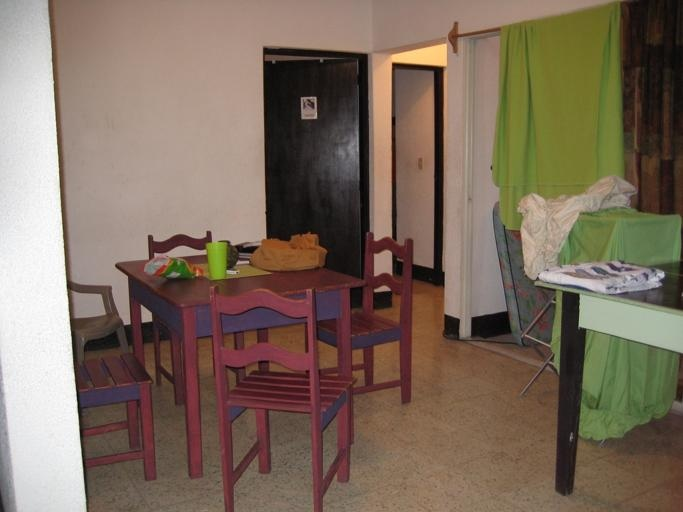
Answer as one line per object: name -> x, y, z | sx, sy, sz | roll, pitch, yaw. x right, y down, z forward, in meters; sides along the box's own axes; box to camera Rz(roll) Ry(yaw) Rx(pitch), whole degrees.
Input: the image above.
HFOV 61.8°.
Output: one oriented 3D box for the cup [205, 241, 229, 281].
cup -> -0.666, 0.020, 3.089 | 0.168, 0.274, 0.166 | 1, 8, 0
